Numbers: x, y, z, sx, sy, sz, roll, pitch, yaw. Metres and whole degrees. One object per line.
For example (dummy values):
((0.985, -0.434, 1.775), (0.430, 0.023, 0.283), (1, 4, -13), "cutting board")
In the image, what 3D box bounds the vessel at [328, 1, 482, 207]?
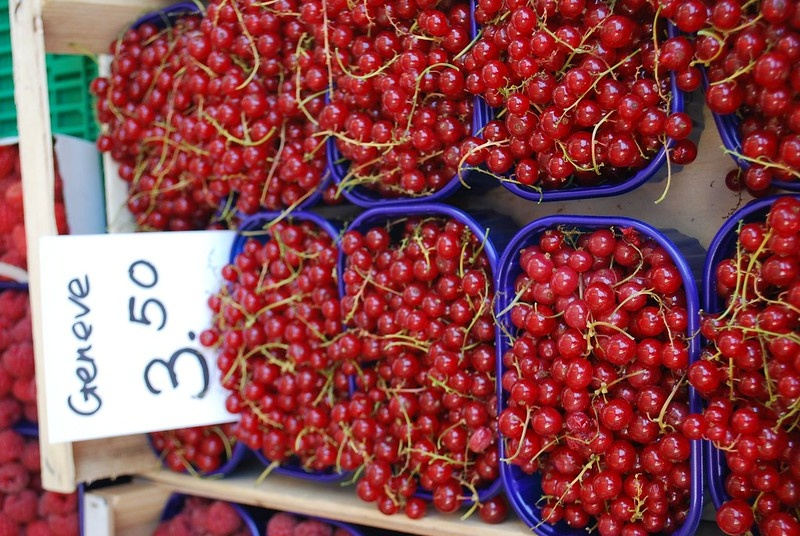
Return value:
((0.007, -0.379, 1.983), (0.366, 0.299, 0.452), (3, 78, 4), "vessel")

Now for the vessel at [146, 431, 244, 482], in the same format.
((-0.514, 0.463, 2.159), (0.153, 0.155, 0.054), (-1, 92, -6), "vessel")

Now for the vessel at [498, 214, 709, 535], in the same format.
((0.395, 0.255, 1.866), (0.481, 0.252, 0.710), (-3, 90, 24), "vessel")

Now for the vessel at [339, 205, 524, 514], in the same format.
((0.087, 0.224, 2.102), (0.377, 0.265, 0.707), (-9, 90, 14), "vessel")

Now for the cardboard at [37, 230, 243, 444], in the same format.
((-0.641, 0.157, 2.055), (0.434, 0.169, 0.481), (-5, 78, 2), "cardboard")

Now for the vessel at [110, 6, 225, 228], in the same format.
((-0.564, -0.374, 2.290), (0.344, 0.214, 0.541), (-24, 75, 31), "vessel")

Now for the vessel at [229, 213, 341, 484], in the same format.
((-0.247, 0.191, 2.162), (0.317, 0.199, 0.620), (-9, 89, 9), "vessel")
